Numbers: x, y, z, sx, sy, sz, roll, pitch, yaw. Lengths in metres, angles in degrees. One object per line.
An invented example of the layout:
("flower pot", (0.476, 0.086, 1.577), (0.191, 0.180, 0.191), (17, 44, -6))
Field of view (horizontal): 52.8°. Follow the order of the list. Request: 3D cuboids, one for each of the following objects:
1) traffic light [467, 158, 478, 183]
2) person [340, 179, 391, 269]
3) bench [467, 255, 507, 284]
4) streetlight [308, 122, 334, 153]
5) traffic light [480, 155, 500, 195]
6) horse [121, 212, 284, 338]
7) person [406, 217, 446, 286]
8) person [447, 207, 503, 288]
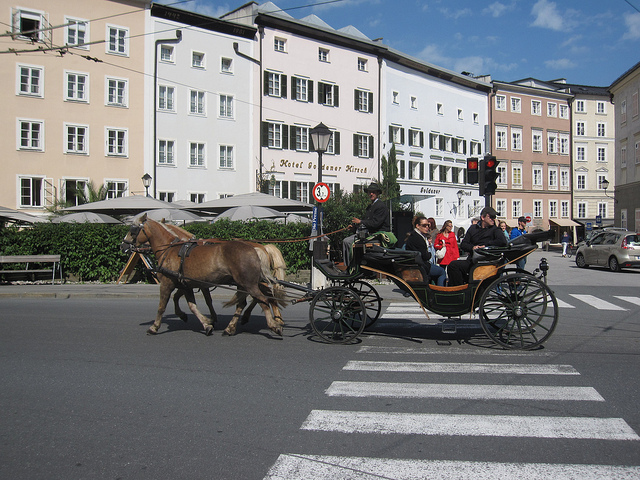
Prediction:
("traffic light", (4.060, -1.858, 17.073), (0.263, 0.645, 0.735), (0, 5, 12))
("person", (0.918, -0.354, 12.926), (0.958, 1.622, 2.379), (0, 4, 5))
("bench", (2.913, 0.498, 11.204), (0.548, 0.344, 0.402), (-4, 4, -14))
("streetlight", (-0.003, -3.205, 20.332), (0.745, 1.027, 0.692), (-5, 2, -35))
("traffic light", (4.570, -1.772, 17.319), (0.488, 1.068, 1.961), (0, 5, 15))
("horse", (-2.337, 0.688, 12.545), (3.308, 2.309, 0.770), (1, 5, 25))
("person", (2.019, 0.377, 12.183), (0.896, 1.615, 0.613), (0, 3, -17))
("person", (2.923, 0.093, 12.030), (0.956, 1.364, 1.412), (0, 5, 16))
